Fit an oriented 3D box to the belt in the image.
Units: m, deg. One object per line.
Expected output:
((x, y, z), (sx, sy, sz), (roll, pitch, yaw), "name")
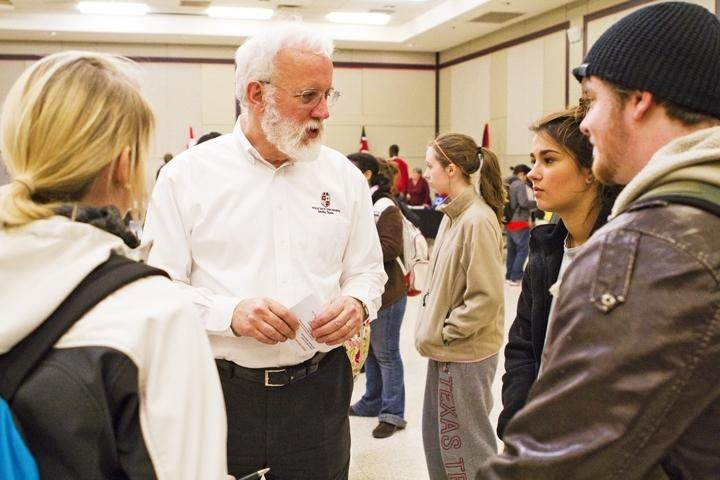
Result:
((-0.311, 0.470, 2.081), (0.398, 0.104, 0.090), (-5, 11, -15), "belt")

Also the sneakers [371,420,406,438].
((0.188, 1.285, 3.885), (0.234, 0.099, 0.085), (9, -22, -42), "sneakers")
